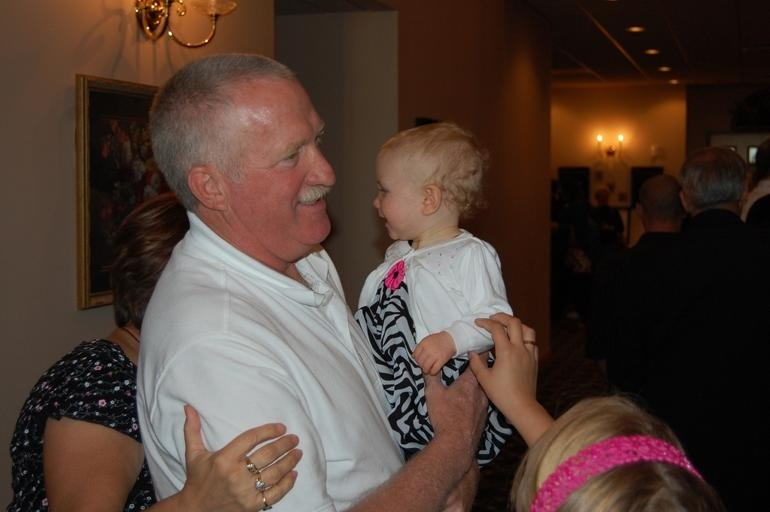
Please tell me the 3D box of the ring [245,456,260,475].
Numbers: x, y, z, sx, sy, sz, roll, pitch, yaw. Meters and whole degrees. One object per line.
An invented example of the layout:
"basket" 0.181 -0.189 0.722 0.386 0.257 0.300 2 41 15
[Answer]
"ring" -0.355 0.566 1.706 0.010 0.037 0.035 -28 8 -14
